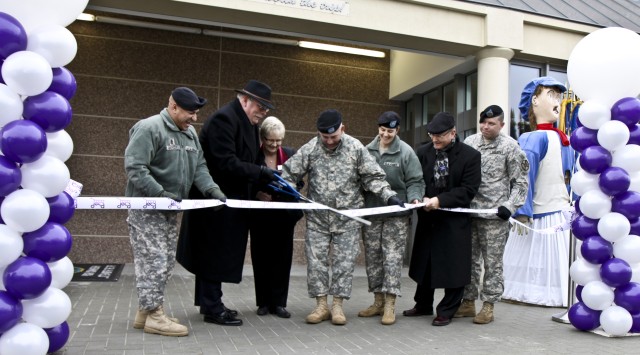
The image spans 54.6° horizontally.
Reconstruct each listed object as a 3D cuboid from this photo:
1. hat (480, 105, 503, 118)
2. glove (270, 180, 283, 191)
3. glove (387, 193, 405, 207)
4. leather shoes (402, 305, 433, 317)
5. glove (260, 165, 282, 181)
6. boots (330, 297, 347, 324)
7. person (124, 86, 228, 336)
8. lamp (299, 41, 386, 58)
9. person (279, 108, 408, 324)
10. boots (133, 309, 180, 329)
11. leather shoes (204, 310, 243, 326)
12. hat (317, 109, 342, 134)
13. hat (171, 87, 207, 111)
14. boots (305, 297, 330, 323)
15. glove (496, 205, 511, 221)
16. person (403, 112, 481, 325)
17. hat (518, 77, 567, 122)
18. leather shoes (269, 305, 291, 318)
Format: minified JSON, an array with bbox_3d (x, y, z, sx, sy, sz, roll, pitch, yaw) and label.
[{"bbox_3d":[2.601,-0.991,9.340,0.292,0.220,0.254,2,4,-3],"label":"hat"},{"bbox_3d":[-0.615,0.107,8.911,0.176,0.148,0.163,1,3,-19],"label":"glove"},{"bbox_3d":[1.088,0.328,8.768,0.210,0.096,0.148,2,-3,-7],"label":"glove"},{"bbox_3d":[1.505,2.031,9.487,0.461,0.170,0.165,3,-7,-7],"label":"leather shoes"},{"bbox_3d":[-0.691,-0.062,8.681,0.239,0.072,0.167,17,-17,-7],"label":"glove"},{"bbox_3d":[0.283,1.903,8.875,0.224,0.357,0.262,2,4,2],"label":"boots"},{"bbox_3d":[-2.045,0.430,8.352,1.119,3.320,0.651,1,4,-20],"label":"person"},{"bbox_3d":[0.417,-2.873,13.749,2.178,0.191,0.168,5,40,-12],"label":"lamp"},{"bbox_3d":[0.224,0.555,8.958,1.529,3.040,0.639,2,4,-4],"label":"person"},{"bbox_3d":[-2.289,1.925,8.627,0.706,0.382,0.256,1,1,-8],"label":"boots"},{"bbox_3d":[-1.328,1.964,8.785,0.652,0.239,0.211,1,-3,4],"label":"leather shoes"},{"bbox_3d":[0.142,-0.795,8.811,0.334,0.335,0.217,2,4,-2],"label":"hat"},{"bbox_3d":[-1.776,-1.066,8.290,0.422,0.141,0.308,27,31,1],"label":"hat"},{"bbox_3d":[-0.027,1.894,8.936,0.202,0.357,0.558,-6,-5,29],"label":"boots"},{"bbox_3d":[2.692,0.512,8.987,0.177,0.191,0.188,22,-34,-25],"label":"glove"},{"bbox_3d":[1.850,0.593,9.122,0.982,3.069,0.677,3,4,12],"label":"person"},{"bbox_3d":[3.556,-1.322,10.254,0.698,0.744,0.312,-8,12,-19],"label":"hat"},{"bbox_3d":[-0.572,1.985,9.188,0.302,0.110,0.139,-2,-4,40],"label":"leather shoes"}]
